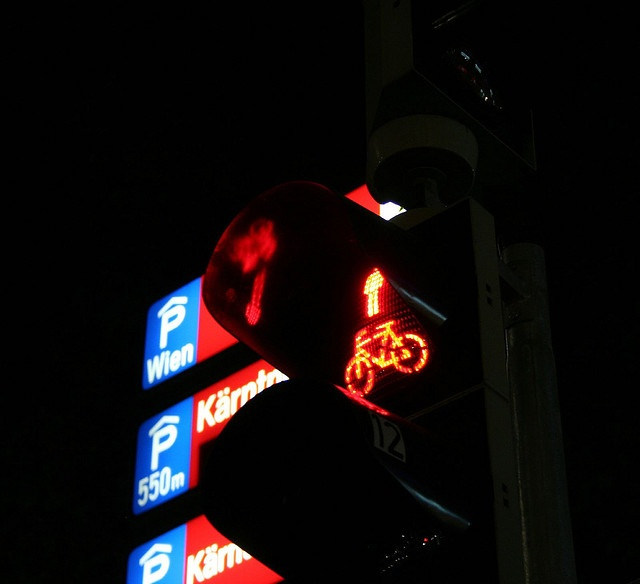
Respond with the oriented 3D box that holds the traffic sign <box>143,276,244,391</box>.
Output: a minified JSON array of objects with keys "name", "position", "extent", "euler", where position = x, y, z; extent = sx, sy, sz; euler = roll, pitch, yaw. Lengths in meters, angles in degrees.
[{"name":"traffic sign","position":[-1.152,0.329,7.652],"extent":[0.005,0.772,0.976],"euler":[12,-18,-27]}]

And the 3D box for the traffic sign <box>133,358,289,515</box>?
[{"name":"traffic sign","position":[-0.828,1.059,7.007],"extent":[1.371,0.806,0.016],"euler":[-26,-39,29]}]
